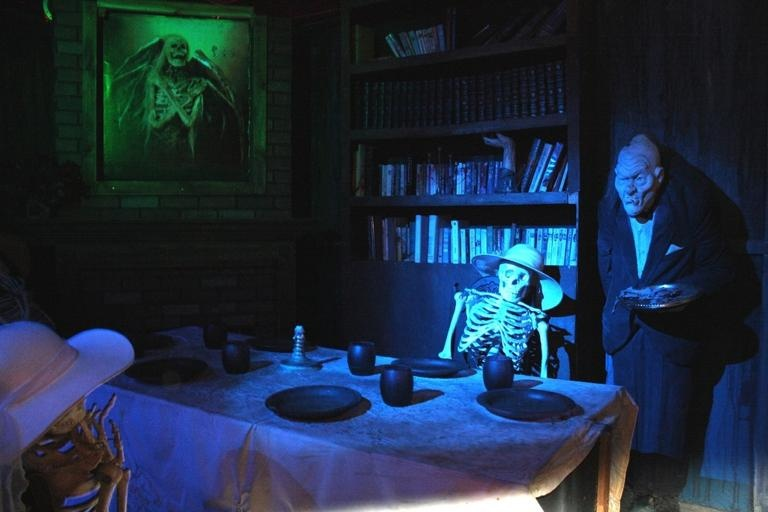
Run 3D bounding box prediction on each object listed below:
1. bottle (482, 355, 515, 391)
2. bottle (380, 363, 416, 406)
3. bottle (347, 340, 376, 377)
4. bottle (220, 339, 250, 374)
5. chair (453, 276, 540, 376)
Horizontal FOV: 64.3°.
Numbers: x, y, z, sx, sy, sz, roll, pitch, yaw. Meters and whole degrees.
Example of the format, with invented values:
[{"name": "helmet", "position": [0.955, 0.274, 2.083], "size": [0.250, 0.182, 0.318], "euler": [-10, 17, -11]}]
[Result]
[{"name": "bottle", "position": [0.473, 0.470, 2.482], "size": [0.130, 0.126, 0.130], "euler": [-1, -5, 17]}, {"name": "bottle", "position": [0.055, 0.500, 2.404], "size": [0.139, 0.130, 0.140], "euler": [1, 1, 18]}, {"name": "bottle", "position": [-0.092, 0.448, 2.710], "size": [0.132, 0.126, 0.132], "euler": [0, -3, 16]}, {"name": "bottle", "position": [-0.634, 0.436, 2.643], "size": [0.127, 0.119, 0.126], "euler": [0, -1, 6]}, {"name": "chair", "position": [0.614, 0.364, 3.211], "size": [0.492, 0.563, 0.245], "euler": [9, -3, 22]}]
